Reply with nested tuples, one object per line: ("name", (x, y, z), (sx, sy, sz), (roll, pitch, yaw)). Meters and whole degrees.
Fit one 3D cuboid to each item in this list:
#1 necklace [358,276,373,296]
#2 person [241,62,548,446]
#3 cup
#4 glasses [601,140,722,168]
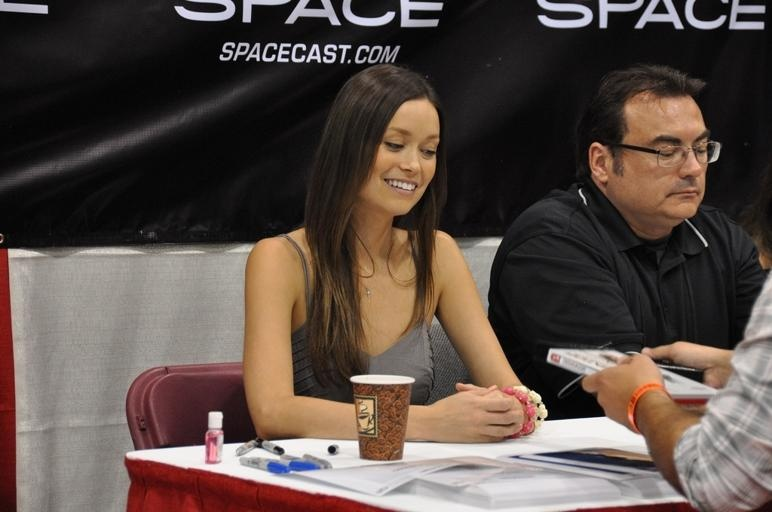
("necklace", (-0.071, 0.108, 2.416), (0.064, 0.050, 0.053), (-2, -5, 23))
("person", (-0.012, -0.061, 2.255), (0.901, 1.166, 0.775), (-2, 2, -14))
("cup", (-0.012, 0.399, 1.789), (0.139, 0.224, 0.123), (1, 6, -13))
("glasses", (1.099, -0.395, 2.743), (0.417, 0.106, 0.101), (-1, 2, 3))
